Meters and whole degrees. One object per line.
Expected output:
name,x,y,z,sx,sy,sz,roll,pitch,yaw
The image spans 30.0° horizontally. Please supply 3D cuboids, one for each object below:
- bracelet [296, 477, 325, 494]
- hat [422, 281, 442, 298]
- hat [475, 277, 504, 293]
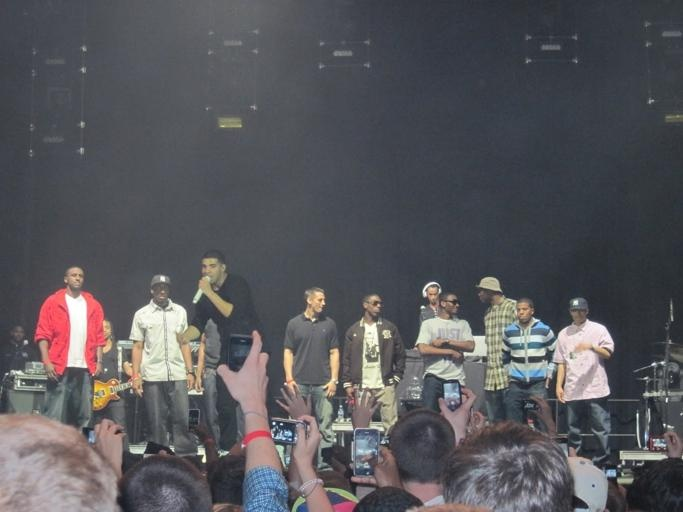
bracelet,-0.272,1.979,10.893,0.194,0.144,0.127,-2,-9,4
hat,1.112,0.427,15.770,0.170,0.151,0.060,-5,26,1
hat,1.854,0.359,15.687,0.219,0.106,0.214,9,-7,-35
